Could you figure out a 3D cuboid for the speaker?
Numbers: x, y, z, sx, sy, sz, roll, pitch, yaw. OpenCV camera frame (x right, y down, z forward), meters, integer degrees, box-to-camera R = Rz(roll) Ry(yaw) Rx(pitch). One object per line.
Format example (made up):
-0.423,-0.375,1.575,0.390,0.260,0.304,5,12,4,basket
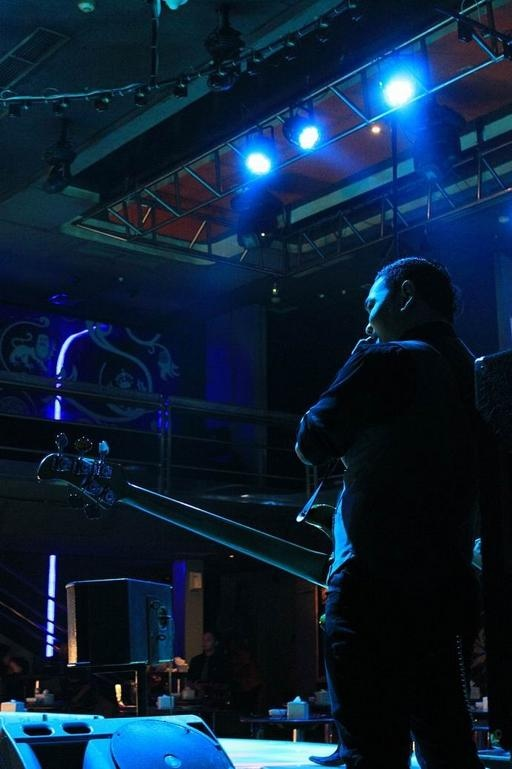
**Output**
-0.402,0.696,2.994,0.383,0.226,0.222,12,-19,-43,speaker

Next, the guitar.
-0.224,0.341,2.833,0.748,0.436,0.598,1,-13,-12,guitar
